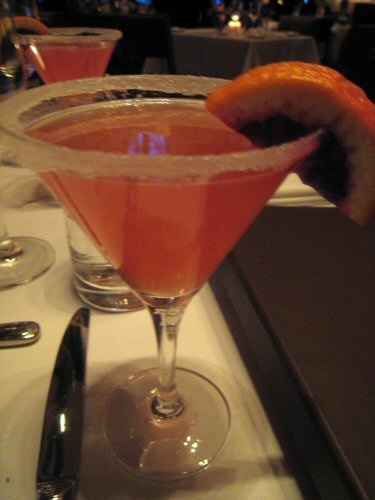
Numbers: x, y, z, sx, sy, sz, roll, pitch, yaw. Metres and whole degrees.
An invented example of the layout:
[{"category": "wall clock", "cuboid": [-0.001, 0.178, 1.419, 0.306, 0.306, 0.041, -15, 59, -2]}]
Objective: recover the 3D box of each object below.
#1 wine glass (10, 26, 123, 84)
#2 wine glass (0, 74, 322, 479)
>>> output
[{"category": "wine glass", "cuboid": [-0.224, -0.355, 0.825, 0.205, 0.127, 0.181, 2, 29, -2]}, {"category": "wine glass", "cuboid": [-0.045, 0.031, 0.488, 0.247, 0.409, 0.333, -12, 39, -20]}]
